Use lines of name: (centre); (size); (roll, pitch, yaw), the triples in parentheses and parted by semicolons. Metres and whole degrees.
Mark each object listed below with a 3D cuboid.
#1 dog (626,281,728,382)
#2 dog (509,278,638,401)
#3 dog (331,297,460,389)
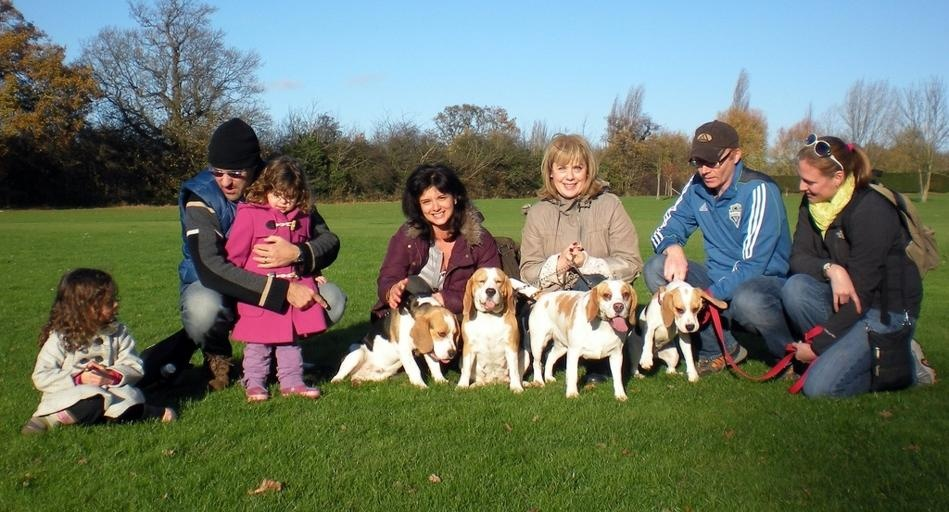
dog: (2.961, 1.161, 10.113); (1.010, 1.513, 2.019); (3, -5, -4)
dog: (1.558, 1.218, 9.874); (0.845, 1.668, 2.543); (5, -3, -22)
dog: (-1.183, 1.285, 9.905); (2.165, 1.248, 1.149); (3, 4, 28)
